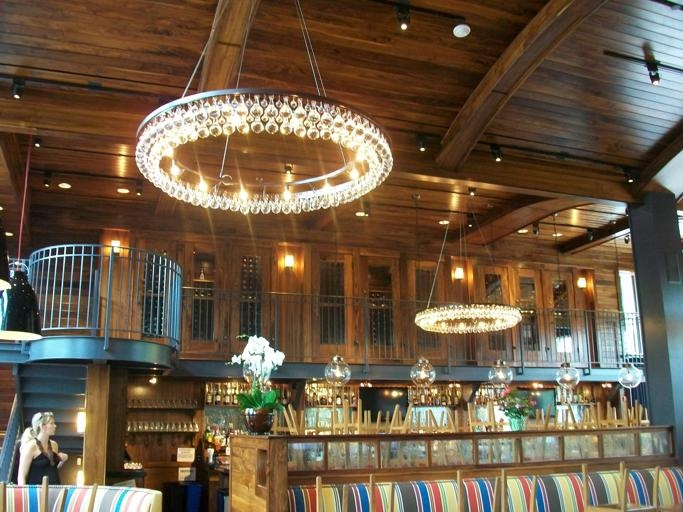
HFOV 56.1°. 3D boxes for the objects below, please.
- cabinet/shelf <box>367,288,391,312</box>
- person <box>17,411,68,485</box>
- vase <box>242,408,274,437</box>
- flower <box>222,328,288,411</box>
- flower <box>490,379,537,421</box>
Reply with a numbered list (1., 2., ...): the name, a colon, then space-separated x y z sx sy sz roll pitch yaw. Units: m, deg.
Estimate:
1. cabinet/shelf: 0.726 0.856 12.598 0.409 0.387 0.143 4 -17 -17
2. person: -3.606 2.293 7.685 0.549 0.811 0.423 12 -20 -42
3. vase: -0.864 1.740 6.671 0.273 0.200 0.280 -11 -26 25
4. flower: -0.871 1.207 6.783 0.506 0.804 0.459 -1 -15 -1
5. flower: 2.392 2.094 8.990 0.400 0.354 0.390 2 -12 -4
